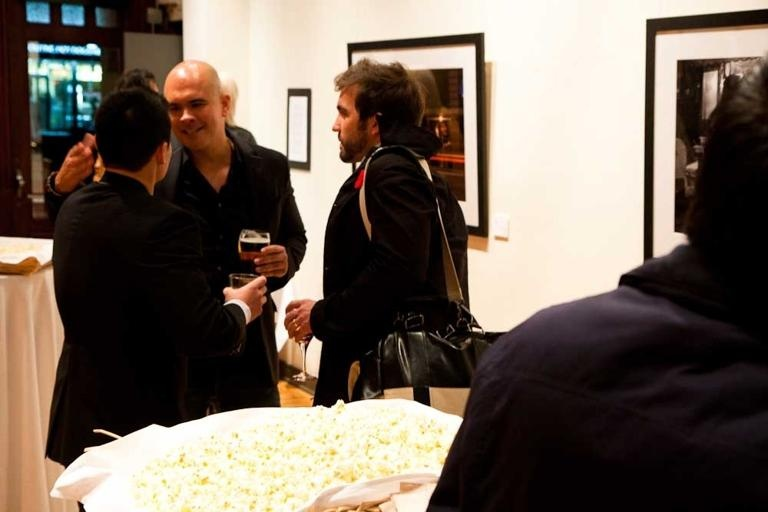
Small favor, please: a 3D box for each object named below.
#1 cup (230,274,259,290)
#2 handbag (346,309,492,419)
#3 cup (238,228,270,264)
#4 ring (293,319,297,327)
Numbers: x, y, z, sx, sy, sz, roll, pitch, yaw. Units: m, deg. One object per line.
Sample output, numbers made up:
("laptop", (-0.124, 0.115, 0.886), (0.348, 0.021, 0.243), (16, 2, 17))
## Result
("cup", (-0.542, 0.088, 2.381), (0.067, 0.052, 0.067), (2, 7, 0))
("handbag", (0.112, 0.345, 1.989), (0.286, 0.294, 0.163), (15, -6, 6))
("cup", (-0.512, -0.045, 2.448), (0.109, 0.117, 0.126), (-1, 10, -11))
("ring", (-0.349, 0.260, 2.457), (0.015, 0.023, 0.006), (-1, -2, 31))
